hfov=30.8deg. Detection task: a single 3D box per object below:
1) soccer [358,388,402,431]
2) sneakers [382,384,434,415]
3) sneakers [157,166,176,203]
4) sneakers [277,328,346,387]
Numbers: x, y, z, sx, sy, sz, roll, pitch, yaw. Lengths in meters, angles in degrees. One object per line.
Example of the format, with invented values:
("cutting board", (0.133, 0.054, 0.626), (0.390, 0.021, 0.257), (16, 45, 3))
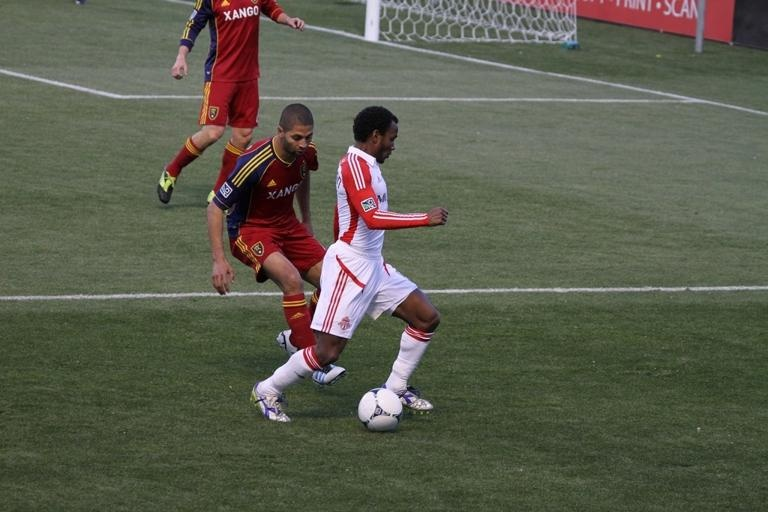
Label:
("soccer", (-0.021, 1.281, 12.367), (0.418, 0.365, 0.374), (6, 30, -3))
("sneakers", (0.273, 1.272, 12.553), (0.538, 0.230, 0.181), (17, 15, -5))
("sneakers", (-2.495, -0.805, 15.749), (0.164, 0.428, 0.187), (7, 1, -30))
("sneakers", (-0.642, 0.916, 12.493), (0.627, 0.200, 0.277), (32, -11, 6))
